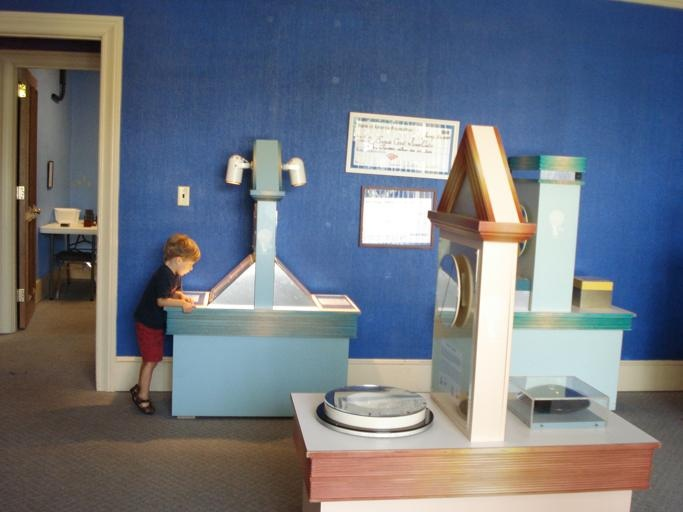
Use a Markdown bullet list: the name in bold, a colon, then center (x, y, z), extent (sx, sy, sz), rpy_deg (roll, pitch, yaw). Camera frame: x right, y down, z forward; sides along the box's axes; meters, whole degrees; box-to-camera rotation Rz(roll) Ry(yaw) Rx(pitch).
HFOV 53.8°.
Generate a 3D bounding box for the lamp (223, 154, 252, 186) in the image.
- **lamp**: center (-0.712, -0.599, 4.672), extent (0.165, 0.195, 0.164), rpy_deg (6, 14, 14)

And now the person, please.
- **person**: center (-1.220, 0.459, 4.650), extent (0.468, 1.191, 0.567), rpy_deg (-1, 14, -16)

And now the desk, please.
- **desk**: center (-3.243, 0.044, 7.974), extent (0.704, 0.622, 0.713), rpy_deg (20, 15, 35)

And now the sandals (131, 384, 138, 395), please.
- **sandals**: center (-1.446, 0.942, 4.695), extent (0.038, 0.047, 0.113), rpy_deg (6, -10, -18)

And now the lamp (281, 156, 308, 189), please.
- **lamp**: center (-0.338, -0.593, 4.734), extent (0.161, 0.195, 0.149), rpy_deg (2, 13, -5)
